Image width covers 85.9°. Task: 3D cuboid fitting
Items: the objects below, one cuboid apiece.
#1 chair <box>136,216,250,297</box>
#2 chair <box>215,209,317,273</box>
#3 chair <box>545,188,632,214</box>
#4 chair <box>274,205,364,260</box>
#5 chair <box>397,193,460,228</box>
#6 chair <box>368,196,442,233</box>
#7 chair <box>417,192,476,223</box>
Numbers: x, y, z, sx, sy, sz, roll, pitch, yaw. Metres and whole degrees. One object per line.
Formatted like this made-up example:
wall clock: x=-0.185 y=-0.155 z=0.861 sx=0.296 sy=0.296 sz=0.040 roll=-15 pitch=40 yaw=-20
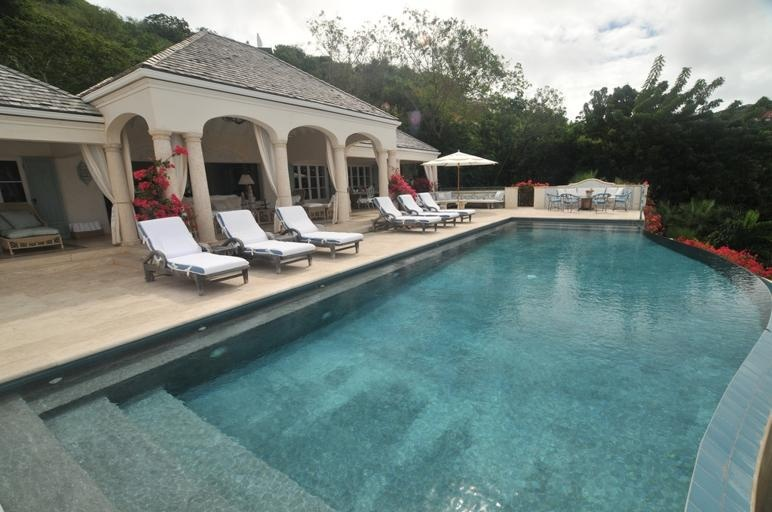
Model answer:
chair: x=-3.969 y=0.046 z=8.629 sx=2.434 sy=1.215 sz=1.546 roll=11 pitch=17 yaw=27
chair: x=-2.895 y=-0.395 z=9.803 sx=2.322 sy=1.155 sz=1.466 roll=12 pitch=18 yaw=30
chair: x=9.449 y=-2.616 z=19.365 sx=2.259 sy=0.996 sz=3.539 roll=-8 pitch=13 yaw=-26
chair: x=-1.817 y=-0.723 z=10.851 sx=2.075 sy=0.946 sz=1.240 roll=10 pitch=15 yaw=27
chair: x=1.446 y=-1.714 z=15.522 sx=2.170 sy=1.066 sz=1.299 roll=7 pitch=14 yaw=30
chair: x=0.480 y=-1.461 z=14.378 sx=2.155 sy=0.872 sz=1.284 roll=5 pitch=7 yaw=-5
chair: x=2.176 y=-1.923 z=16.526 sx=2.205 sy=1.097 sz=1.377 roll=4 pitch=9 yaw=32
